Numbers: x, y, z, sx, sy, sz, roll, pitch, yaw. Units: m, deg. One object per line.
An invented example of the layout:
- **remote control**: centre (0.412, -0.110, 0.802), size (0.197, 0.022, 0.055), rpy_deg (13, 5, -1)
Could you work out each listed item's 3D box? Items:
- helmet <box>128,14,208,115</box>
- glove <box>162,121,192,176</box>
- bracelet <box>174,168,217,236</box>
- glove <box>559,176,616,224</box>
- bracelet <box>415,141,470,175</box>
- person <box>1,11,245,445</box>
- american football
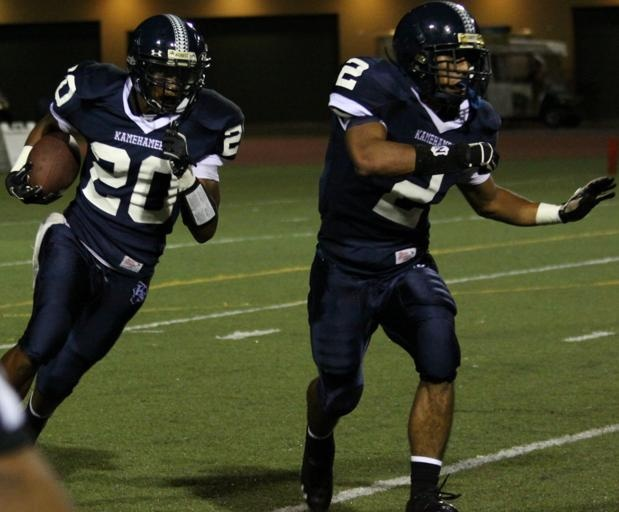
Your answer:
- **helmet**: centre (-0.538, -0.735, 3.171), size (0.309, 0.382, 0.288), rpy_deg (-3, 13, -8)
- **glove**: centre (-0.477, -0.383, 2.987), size (0.089, 0.186, 0.219), rpy_deg (-3, 13, -9)
- **bracelet**: centre (-0.421, -0.198, 3.143), size (0.146, 0.252, 0.143), rpy_deg (-13, 22, -36)
- **glove**: centre (1.098, -0.218, 3.277), size (0.166, 0.194, 0.172), rpy_deg (-4, 25, -14)
- **bracelet**: centre (0.435, -0.324, 2.762), size (0.185, 0.098, 0.110), rpy_deg (-2, 12, -6)
- **person**: centre (-0.646, -0.181, 3.280), size (0.961, 1.620, 1.015), rpy_deg (-7, 25, -28)
- **american football**: centre (-0.985, -0.387, 3.265), size (0.245, 0.214, 0.320), rpy_deg (-11, 21, -35)
